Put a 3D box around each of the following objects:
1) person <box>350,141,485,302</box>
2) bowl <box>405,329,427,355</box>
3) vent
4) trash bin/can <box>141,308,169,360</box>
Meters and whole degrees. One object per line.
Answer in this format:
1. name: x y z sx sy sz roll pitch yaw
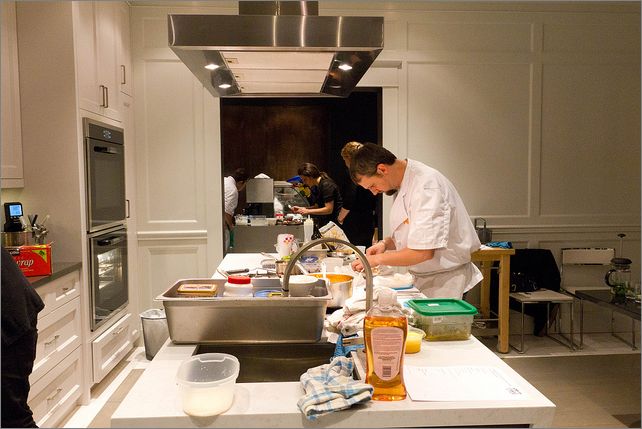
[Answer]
1. person: 0.750 -0.062 3.965 1.132 1.746 0.965 -3 11 5
2. bowl: 0.463 0.636 2.465 0.130 0.086 0.128 0 8 0
3. vent: -0.232 -1.035 3.325 1.078 0.233 1.162 -5 0 -10
4. trash bin/can: -1.594 1.143 4.601 0.213 0.468 0.446 -5 14 -21
